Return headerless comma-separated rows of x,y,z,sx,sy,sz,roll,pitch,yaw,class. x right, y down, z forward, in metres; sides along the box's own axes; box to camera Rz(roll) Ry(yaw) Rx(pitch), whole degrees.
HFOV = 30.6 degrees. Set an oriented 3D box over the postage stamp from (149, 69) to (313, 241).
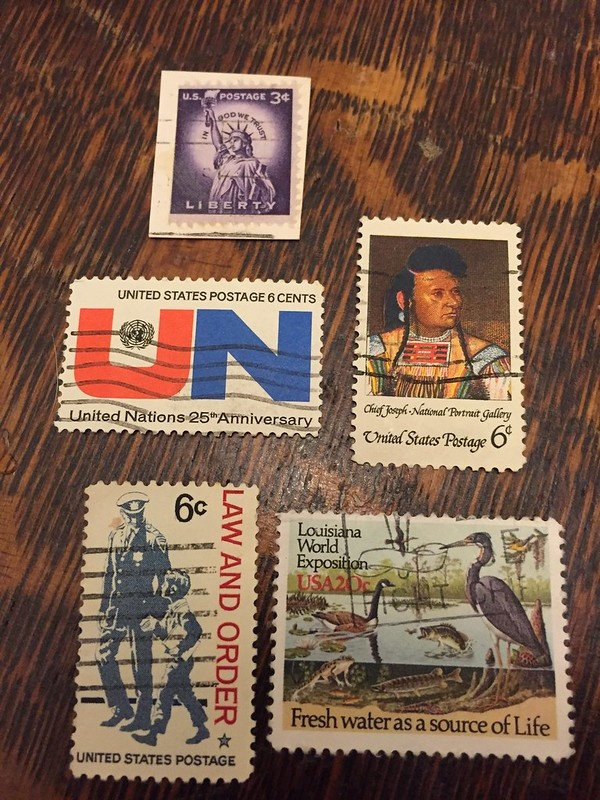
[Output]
-0.098,-0.342,1.582,0.250,0.270,0.010,2,-10,6,postage stamp
